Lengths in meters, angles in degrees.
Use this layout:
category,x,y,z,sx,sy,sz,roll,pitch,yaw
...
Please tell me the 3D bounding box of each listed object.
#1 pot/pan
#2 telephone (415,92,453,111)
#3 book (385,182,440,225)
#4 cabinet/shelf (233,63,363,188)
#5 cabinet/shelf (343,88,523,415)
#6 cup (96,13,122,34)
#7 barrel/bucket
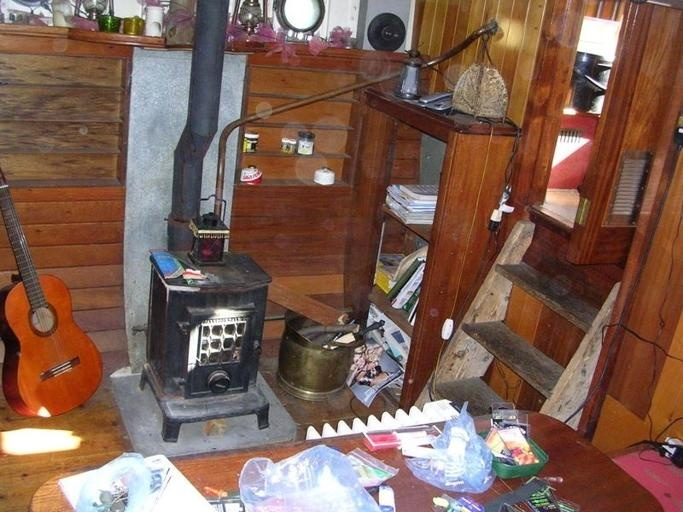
category,x,y,z,sx,sy,sz,roll,pitch,yaw
pot/pan,-0.112,0.676,3.415,0.515,0.466,0.645,-14,30,-44
telephone,0.542,-0.865,2.849,0.191,0.042,0.146,-21,32,-34
book,0.441,-0.321,3.195,0.293,0.092,0.279,0,22,-6
cabinet/shelf,-0.315,-0.911,3.451,0.838,0.730,0.238,-2,16,-16
cabinet/shelf,0.501,-0.085,3.201,0.541,1.755,1.048,-6,25,-20
cup,-1.309,-1.302,2.883,0.133,0.091,0.128,2,11,0
barrel/bucket,-0.170,0.663,3.441,0.494,0.478,0.486,12,14,-3
